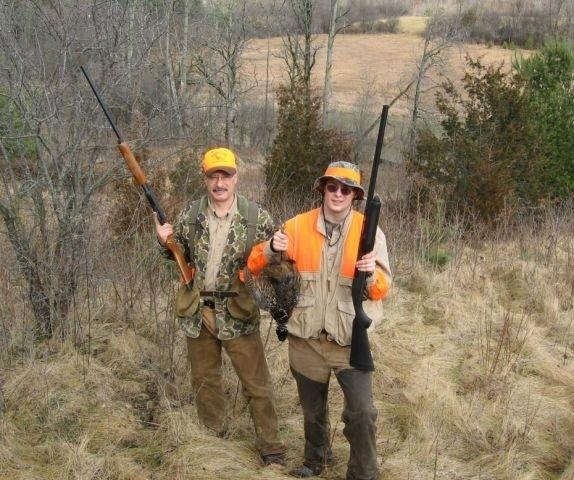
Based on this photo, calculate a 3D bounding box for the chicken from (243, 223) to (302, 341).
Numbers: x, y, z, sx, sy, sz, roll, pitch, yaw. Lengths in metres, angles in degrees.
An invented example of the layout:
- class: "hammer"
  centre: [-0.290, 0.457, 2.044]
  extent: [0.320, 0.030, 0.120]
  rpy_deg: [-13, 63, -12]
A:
- class: "chicken"
  centre: [-0.140, 0.394, 5.651]
  extent: [0.406, 0.923, 0.288]
  rpy_deg: [-9, 0, 6]

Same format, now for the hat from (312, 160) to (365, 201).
- class: "hat"
  centre: [0.509, -0.562, 5.820]
  extent: [0.318, 0.440, 0.364]
  rpy_deg: [2, 6, 5]

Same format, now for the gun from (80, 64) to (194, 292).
- class: "gun"
  centre: [-1.551, -0.628, 6.422]
  extent: [0.293, 2.554, 0.115]
  rpy_deg: [3, 40, 34]

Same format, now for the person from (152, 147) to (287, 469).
- class: "person"
  centre: [-0.628, 0.514, 6.691]
  extent: [0.983, 3.595, 1.180]
  rpy_deg: [1, 3, 7]

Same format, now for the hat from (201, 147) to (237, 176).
- class: "hat"
  centre: [-0.667, -0.780, 6.216]
  extent: [0.317, 0.263, 0.383]
  rpy_deg: [0, 14, -4]
